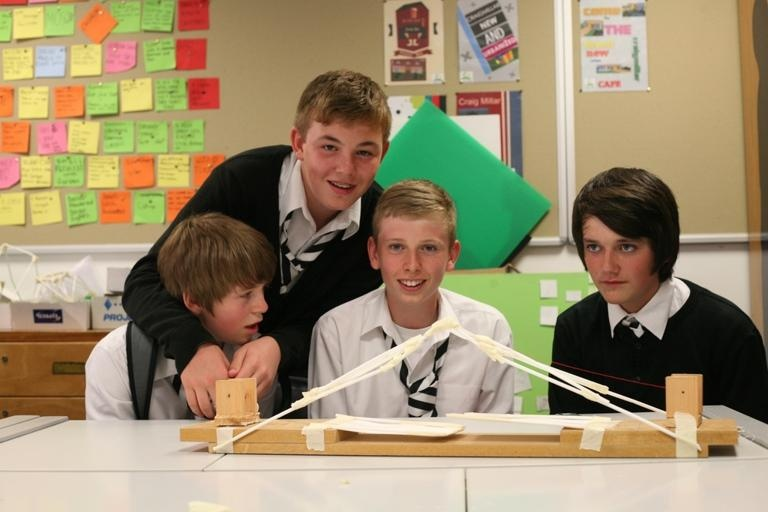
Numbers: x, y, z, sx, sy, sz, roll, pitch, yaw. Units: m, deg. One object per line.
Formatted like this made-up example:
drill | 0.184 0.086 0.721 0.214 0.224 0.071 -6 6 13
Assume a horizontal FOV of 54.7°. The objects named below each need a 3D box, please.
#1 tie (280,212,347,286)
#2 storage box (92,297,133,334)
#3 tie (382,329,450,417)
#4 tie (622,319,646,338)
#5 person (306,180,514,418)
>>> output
tie | -0.267 -0.050 2.617 0.167 0.294 0.071 34 -13 44
storage box | -1.205 0.252 3.368 0.206 0.155 0.115 0 7 7
tie | 0.120 0.395 2.417 0.184 0.346 0.038 -16 40 -16
tie | 0.806 0.228 2.402 0.049 0.024 0.071 30 -22 29
person | 0.097 0.311 2.525 0.710 1.132 0.550 0 4 -3
